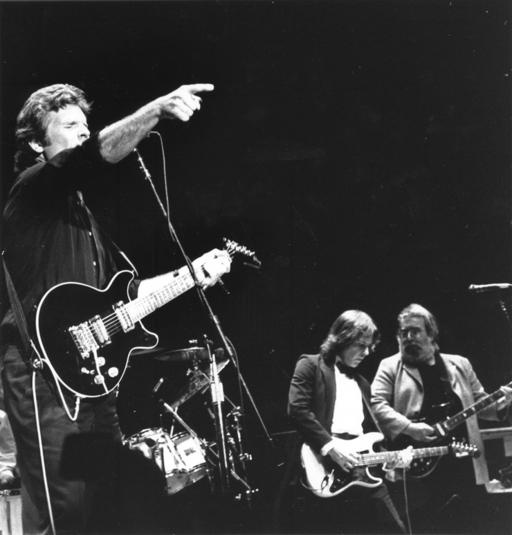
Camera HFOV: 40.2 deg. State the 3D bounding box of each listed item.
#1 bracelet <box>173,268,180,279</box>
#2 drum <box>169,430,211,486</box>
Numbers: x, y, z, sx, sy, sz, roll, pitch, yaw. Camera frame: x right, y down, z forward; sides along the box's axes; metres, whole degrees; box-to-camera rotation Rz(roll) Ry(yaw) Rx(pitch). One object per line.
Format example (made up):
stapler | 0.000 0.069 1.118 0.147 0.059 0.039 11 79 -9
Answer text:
bracelet | -0.398 0.027 3.488 0.039 0.047 0.010 -3 -8 -10
drum | -0.314 0.920 3.483 0.215 0.210 0.169 3 48 -54
